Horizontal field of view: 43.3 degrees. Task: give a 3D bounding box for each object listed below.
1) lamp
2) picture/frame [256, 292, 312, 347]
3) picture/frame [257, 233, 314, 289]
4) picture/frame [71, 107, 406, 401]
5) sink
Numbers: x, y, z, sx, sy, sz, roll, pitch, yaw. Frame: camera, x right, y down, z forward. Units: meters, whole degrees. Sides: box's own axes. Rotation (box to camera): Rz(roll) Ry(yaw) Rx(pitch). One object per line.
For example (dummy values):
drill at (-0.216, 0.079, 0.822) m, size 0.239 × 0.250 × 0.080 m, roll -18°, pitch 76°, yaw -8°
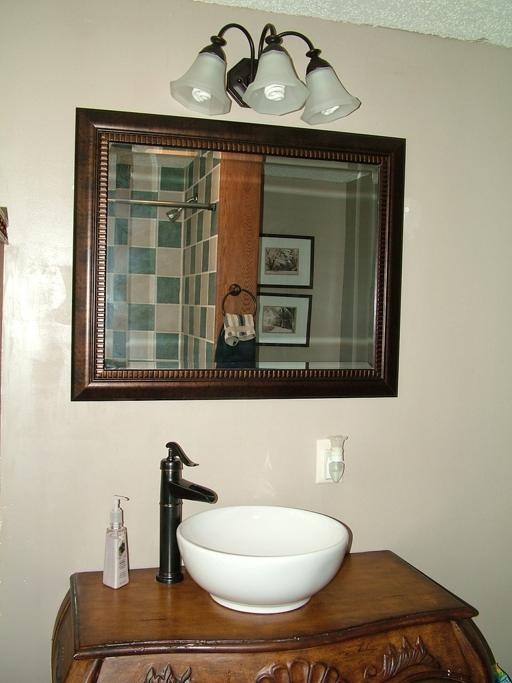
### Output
lamp at (0.023, -0.614, 1.452) m, size 0.415 × 0.222 × 0.219 m, roll 2°, pitch -4°, yaw -14°
picture/frame at (0.062, -0.054, 1.594) m, size 0.142 × 0.127 × 0.007 m, roll 2°, pitch 0°, yaw -14°
picture/frame at (0.066, -0.202, 1.595) m, size 0.152 × 0.121 × 0.012 m, roll 0°, pitch 7°, yaw -13°
picture/frame at (-0.075, -0.217, 1.542) m, size 0.807 × 0.625 × 0.048 m, roll 0°, pitch 2°, yaw -13°
sink at (0.018, 0.461, 1.355) m, size 0.373 × 0.143 × 0.361 m, roll 2°, pitch 1°, yaw 4°
